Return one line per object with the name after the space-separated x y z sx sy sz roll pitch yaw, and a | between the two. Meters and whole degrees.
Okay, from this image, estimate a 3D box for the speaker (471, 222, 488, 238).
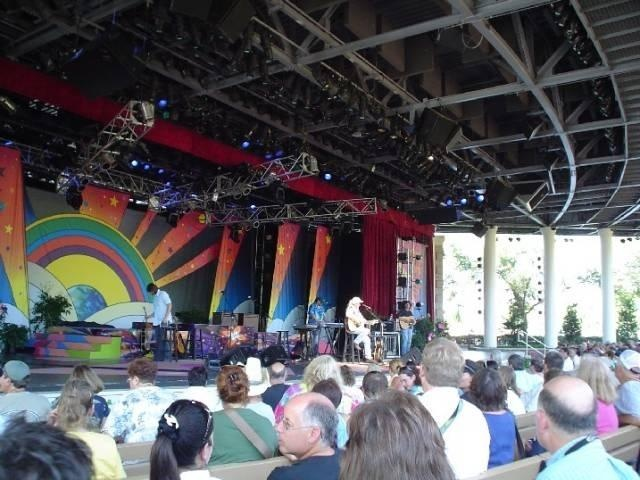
5.906 -0.367 17.580 0.311 0.577 0.603 26 10 -17 | speaker

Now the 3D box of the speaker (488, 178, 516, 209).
5.402 -1.346 14.362 0.540 1.005 0.739 -8 6 -23 | speaker

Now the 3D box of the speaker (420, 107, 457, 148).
2.502 -2.337 10.084 0.588 0.412 1.078 -4 -14 37 | speaker

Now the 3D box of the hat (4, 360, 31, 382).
-2.779 1.194 4.354 0.160 0.124 0.213 25 12 -36 | hat

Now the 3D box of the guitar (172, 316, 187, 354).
-3.607 2.456 12.156 0.457 0.872 0.201 -2 5 -7 | guitar

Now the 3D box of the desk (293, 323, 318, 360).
-0.315 3.055 13.951 0.868 0.916 0.825 11 -15 -42 | desk

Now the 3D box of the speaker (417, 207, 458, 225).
4.068 -0.859 16.412 0.272 0.608 1.796 12 -14 -37 | speaker

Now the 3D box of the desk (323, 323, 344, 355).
0.203 3.004 14.686 0.680 0.861 0.903 6 -26 -32 | desk

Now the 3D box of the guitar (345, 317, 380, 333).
0.940 2.063 11.524 0.682 0.377 0.337 4 -11 1 | guitar
